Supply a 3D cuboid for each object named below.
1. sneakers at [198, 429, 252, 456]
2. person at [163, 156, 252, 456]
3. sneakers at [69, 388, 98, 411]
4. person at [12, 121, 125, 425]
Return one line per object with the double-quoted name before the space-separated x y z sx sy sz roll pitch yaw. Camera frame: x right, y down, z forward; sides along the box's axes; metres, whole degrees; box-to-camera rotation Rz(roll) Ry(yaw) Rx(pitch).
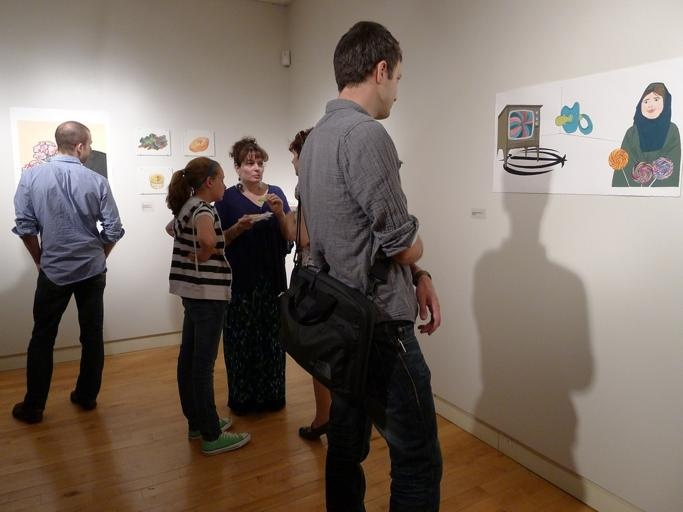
"sneakers" -0.766 1.185 3.160 0.324 0.148 0.123 -8 15 -27
"person" -0.847 0.325 3.057 0.440 1.883 0.401 -3 10 -16
"sneakers" -1.953 1.098 3.644 0.205 0.167 0.074 22 17 31
"person" -2.072 0.067 3.617 0.812 2.149 0.522 -6 11 -29
